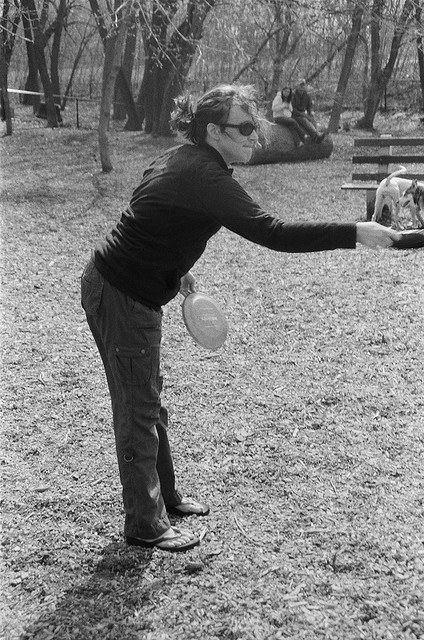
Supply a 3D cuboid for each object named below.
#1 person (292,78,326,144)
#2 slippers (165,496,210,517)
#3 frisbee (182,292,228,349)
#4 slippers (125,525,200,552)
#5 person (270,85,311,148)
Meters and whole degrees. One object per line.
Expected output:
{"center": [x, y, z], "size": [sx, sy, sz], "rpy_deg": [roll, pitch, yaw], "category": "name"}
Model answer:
{"center": [1.824, -4.049, 17.587], "size": [0.477, 1.166, 0.951], "rpy_deg": [-8, 17, -33], "category": "person"}
{"center": [-0.120, 0.945, 4.651], "size": [0.181, 0.073, 0.100], "rpy_deg": [-2, 9, -10], "category": "slippers"}
{"center": [-0.043, -0.002, 4.652], "size": [0.056, 0.275, 0.242], "rpy_deg": [-23, -14, 30], "category": "frisbee"}
{"center": [-0.206, 1.037, 4.303], "size": [0.226, 0.093, 0.148], "rpy_deg": [-1, 4, -6], "category": "slippers"}
{"center": [1.404, -3.838, 17.184], "size": [0.592, 1.206, 0.472], "rpy_deg": [-2, -7, 20], "category": "person"}
